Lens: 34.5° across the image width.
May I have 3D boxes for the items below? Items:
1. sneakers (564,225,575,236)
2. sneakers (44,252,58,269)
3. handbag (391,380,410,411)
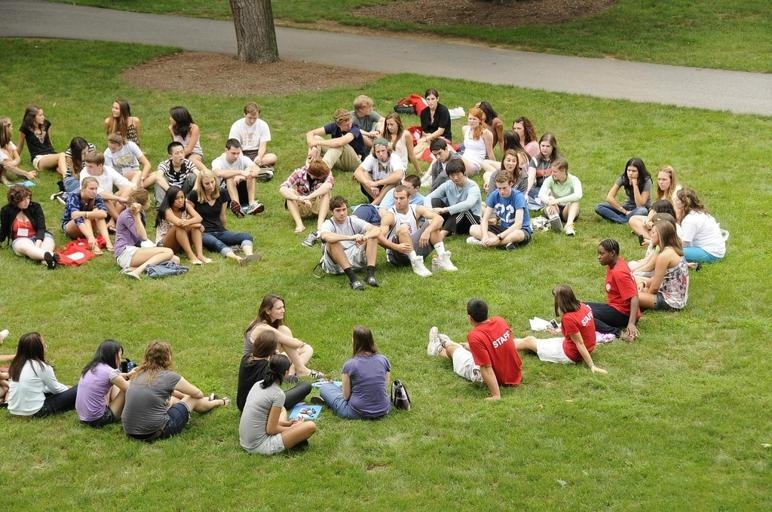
[{"bbox_3d":[4.719,-0.681,31.956,0.271,0.225,0.292,0,17,2],"label":"sneakers"},{"bbox_3d":[-8.230,0.098,30.463,0.182,0.472,0.216,-1,10,-10],"label":"sneakers"},{"bbox_3d":[0.292,3.087,27.297,0.326,0.570,0.509,-22,16,-14],"label":"handbag"}]
